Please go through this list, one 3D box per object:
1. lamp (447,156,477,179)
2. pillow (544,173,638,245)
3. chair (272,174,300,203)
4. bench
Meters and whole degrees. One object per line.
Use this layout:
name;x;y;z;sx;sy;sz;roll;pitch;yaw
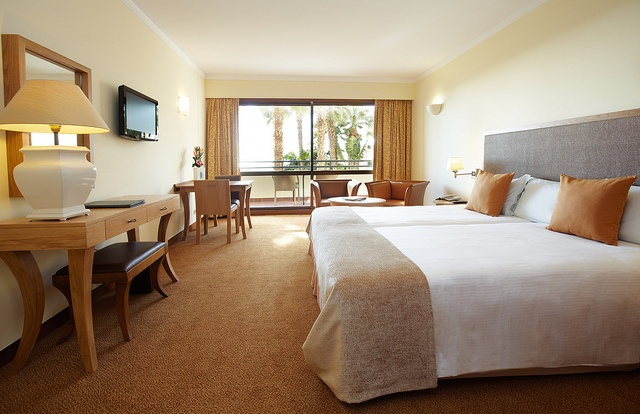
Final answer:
lamp;2.109;-0.606;6.147;0.427;0.296;0.261;-1;4;-4
pillow;2.458;0.029;3.647;0.334;0.628;0.564;13;0;-40
chair;-0.671;-0.404;8.478;0.560;0.795;0.516;1;9;2
bench;-1.829;0.522;3.652;0.701;0.670;1.379;0;2;-3
